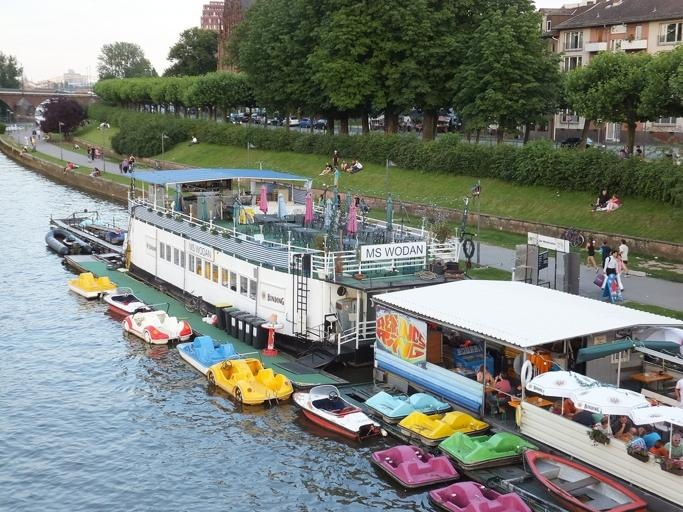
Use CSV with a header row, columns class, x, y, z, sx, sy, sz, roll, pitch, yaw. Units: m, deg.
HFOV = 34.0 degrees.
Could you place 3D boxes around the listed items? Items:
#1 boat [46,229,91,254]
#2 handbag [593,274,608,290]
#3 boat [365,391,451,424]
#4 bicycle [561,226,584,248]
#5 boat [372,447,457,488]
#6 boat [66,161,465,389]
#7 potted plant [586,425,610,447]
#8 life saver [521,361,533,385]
class,x,y,z,sx,sy,sz,roll,pitch,yaw
boat,-21.351,-1.077,85.411,1.837,1.158,3.982,-11,18,-29
handbag,14.816,1.442,63.290,0.285,0.652,0.771,6,11,-17
boat,3.242,7.259,54.472,2.398,0.710,1.957,-2,4,-36
bicycle,15.401,-1.295,73.711,0.862,1.052,1.712,-4,17,-20
boat,3.444,9.680,51.147,4.017,1.102,3.643,4,5,-15
boat,-4.555,1.082,67.355,10.679,7.146,21.453,-8,18,-37
potted plant,11.584,8.051,49.943,0.349,0.698,0.700,-22,29,55
life saver,8.742,5.382,52.115,0.350,0.988,0.715,9,10,10
